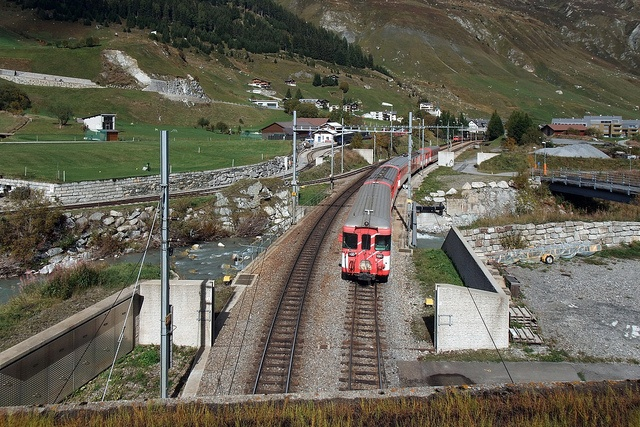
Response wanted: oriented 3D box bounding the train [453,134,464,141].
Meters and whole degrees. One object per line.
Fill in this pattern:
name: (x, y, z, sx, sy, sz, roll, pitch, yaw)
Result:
train: (38.090, -21.313, 169.910, 2.357, 2.385, 3.934, 0, 6, 22)
